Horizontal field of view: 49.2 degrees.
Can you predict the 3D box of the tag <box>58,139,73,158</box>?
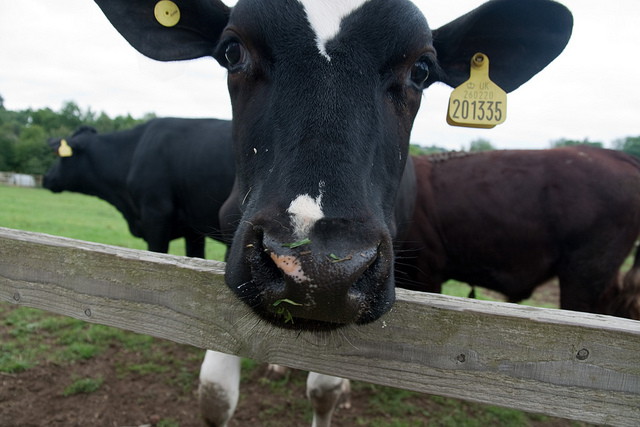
[{"bbox_3d":[-3.006,-0.776,8.193,0.178,0.239,0.024,-7,7,-41],"label":"tag"}]
